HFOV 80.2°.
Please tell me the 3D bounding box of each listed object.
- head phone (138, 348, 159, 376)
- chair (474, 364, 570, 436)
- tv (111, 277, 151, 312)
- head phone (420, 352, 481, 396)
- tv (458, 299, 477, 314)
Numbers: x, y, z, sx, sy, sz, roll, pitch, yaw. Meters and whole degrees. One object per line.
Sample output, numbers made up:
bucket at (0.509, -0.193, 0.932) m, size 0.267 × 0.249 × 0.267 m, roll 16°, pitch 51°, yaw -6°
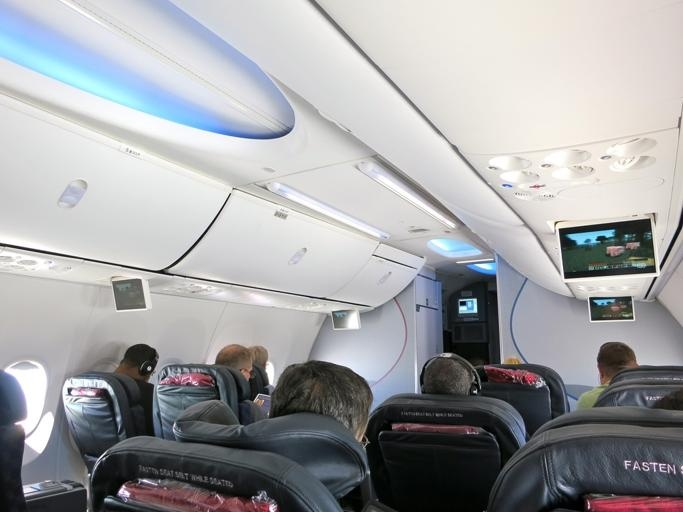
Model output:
head phone at (-2.198, 1.207, 4.652) m, size 0.203 × 0.248 × 0.135 m, roll -9°, pitch -48°, yaw 39°
chair at (1.536, 1.243, 3.726) m, size 0.658 × 0.769 × 0.772 m, roll -1°, pitch -3°, yaw 19°
tv at (-2.139, 0.374, 4.117) m, size 0.406 × 0.328 × 0.127 m, roll -6°, pitch 11°, yaw 24°
head phone at (0.720, 0.748, 2.675) m, size 0.293 × 0.280 × 0.347 m, roll -2°, pitch -6°, yaw 28°
tv at (3.296, 1.289, 10.466) m, size 0.347 × 0.268 × 0.179 m, roll -12°, pitch -31°, yaw 42°
